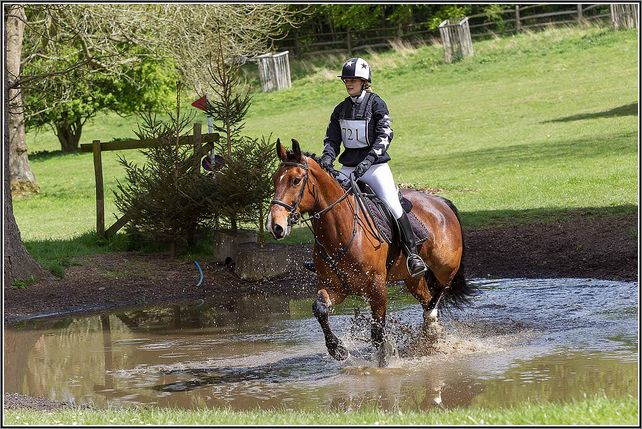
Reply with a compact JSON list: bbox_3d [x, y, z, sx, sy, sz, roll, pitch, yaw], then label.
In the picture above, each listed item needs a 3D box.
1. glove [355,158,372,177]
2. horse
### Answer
[{"bbox_3d":[1.076,-1.192,28.813,0.536,0.294,0.159,-44,-25,4],"label":"glove"},{"bbox_3d":[1.164,0.786,29.243,5.411,6.158,1.381,-15,13,-34],"label":"horse"}]
